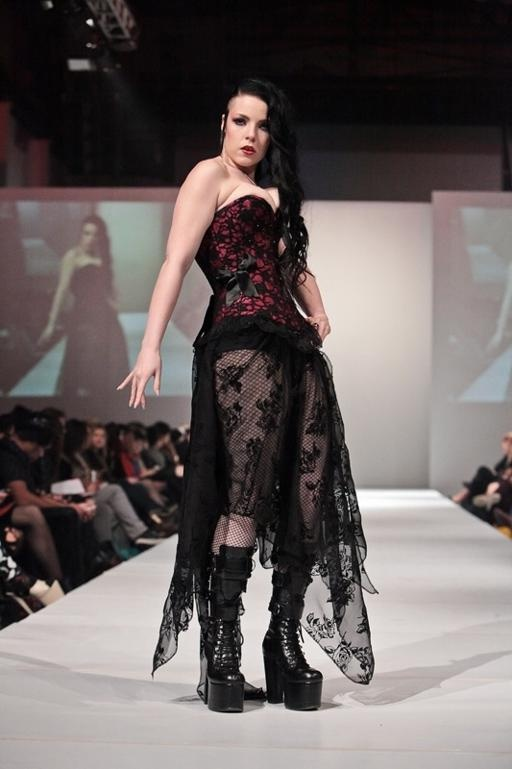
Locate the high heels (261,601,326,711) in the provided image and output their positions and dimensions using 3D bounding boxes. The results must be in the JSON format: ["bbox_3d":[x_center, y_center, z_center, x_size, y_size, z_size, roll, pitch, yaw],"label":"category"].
[{"bbox_3d":[0.074,0.526,1.436,0.087,0.186,0.133,4,1,-19],"label":"high heels"}]

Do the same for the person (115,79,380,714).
[{"bbox_3d":[0.014,0.005,1.491,0.543,1.139,0.372,4,1,-6],"label":"person"}]

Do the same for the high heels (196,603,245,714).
[{"bbox_3d":[-0.063,0.526,1.418,0.093,0.169,0.128,4,1,-1],"label":"high heels"}]
